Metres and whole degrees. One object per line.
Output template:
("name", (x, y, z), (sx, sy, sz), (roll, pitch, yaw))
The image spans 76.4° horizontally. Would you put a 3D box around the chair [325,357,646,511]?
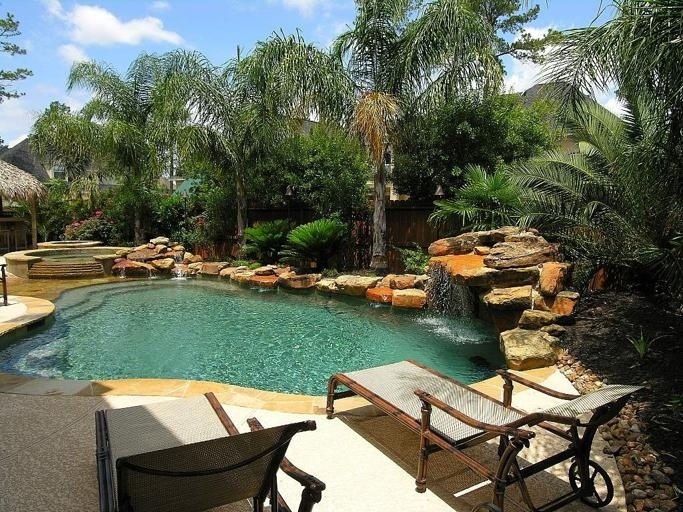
("chair", (1.047, 1.314, 3.608), (1.226, 0.932, 2.093), (-4, 6, -38))
